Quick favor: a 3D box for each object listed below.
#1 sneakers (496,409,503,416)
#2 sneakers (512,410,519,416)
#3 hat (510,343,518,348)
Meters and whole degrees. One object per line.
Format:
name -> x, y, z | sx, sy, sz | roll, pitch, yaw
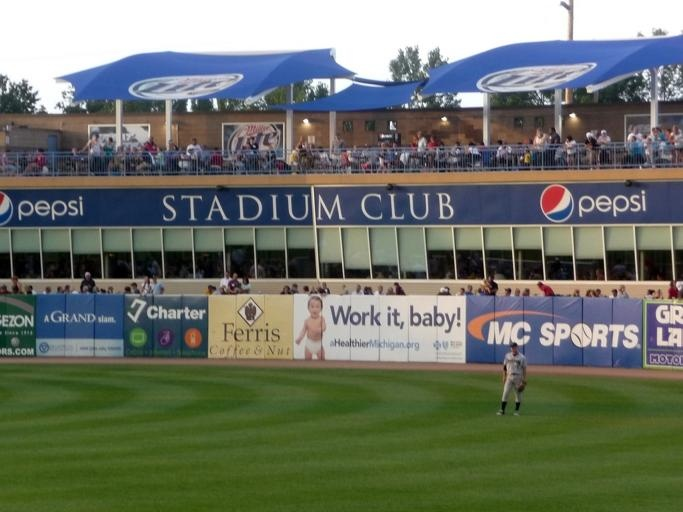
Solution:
sneakers -> 6.379, 6.293, 73.228 | 0.194, 0.221, 0.484 | 0, -4, 8
sneakers -> 7.046, 6.307, 73.288 | 0.195, 0.261, 0.617 | 1, -2, 2
hat -> 6.930, 3.534, 72.627 | 0.188, 0.251, 0.270 | 2, 3, 1
